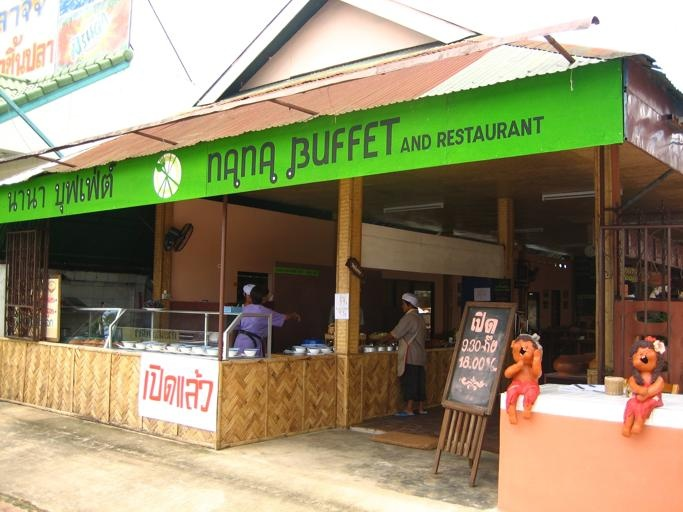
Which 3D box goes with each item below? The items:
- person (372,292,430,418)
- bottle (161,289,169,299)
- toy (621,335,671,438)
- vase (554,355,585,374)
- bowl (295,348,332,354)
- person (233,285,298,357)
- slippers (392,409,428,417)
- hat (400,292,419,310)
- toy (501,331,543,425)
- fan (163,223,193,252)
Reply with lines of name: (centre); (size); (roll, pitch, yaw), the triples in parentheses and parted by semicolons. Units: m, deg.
person: (0.992, 1.482, 10.021); (0.596, 1.787, 0.458); (0, 1, -15)
bottle: (-3.204, 0.684, 12.009); (0.056, 0.195, 0.162); (1, 2, 29)
toy: (2.524, 1.079, 5.513); (0.293, 0.793, 0.377); (1, 2, 27)
vase: (3.667, 1.760, 10.812); (0.335, 0.160, 0.380); (1, 1, -33)
bowl: (-0.386, 1.311, 9.163); (0.549, 0.095, 0.123); (-1, 2, -18)
person: (-1.139, 0.851, 8.871); (0.625, 0.875, 1.102); (0, 2, 0)
slippers: (1.055, 2.361, 9.935); (0.475, 0.130, 0.173); (1, -6, -12)
hat: (1.069, 0.697, 10.313); (0.231, 0.238, 0.300); (11, 21, -6)
toy: (1.694, 1.122, 6.148); (0.321, 0.743, 0.611); (0, 2, 15)
fan: (-3.007, -0.393, 12.242); (0.427, 0.609, 0.298); (17, 25, -13)
